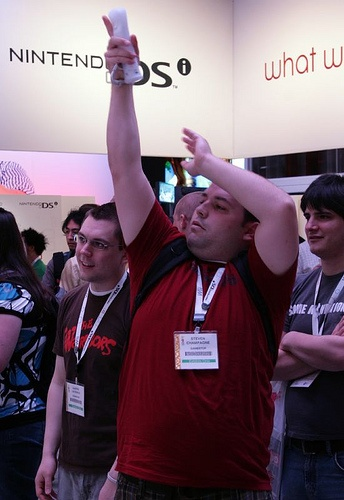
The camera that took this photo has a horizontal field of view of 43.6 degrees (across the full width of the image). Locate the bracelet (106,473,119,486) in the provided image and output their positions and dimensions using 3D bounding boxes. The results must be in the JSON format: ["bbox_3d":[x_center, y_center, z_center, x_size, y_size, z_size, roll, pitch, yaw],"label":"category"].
[{"bbox_3d":[-0.173,0.650,1.230,0.028,0.008,0.029,10,-5,-21],"label":"bracelet"}]
